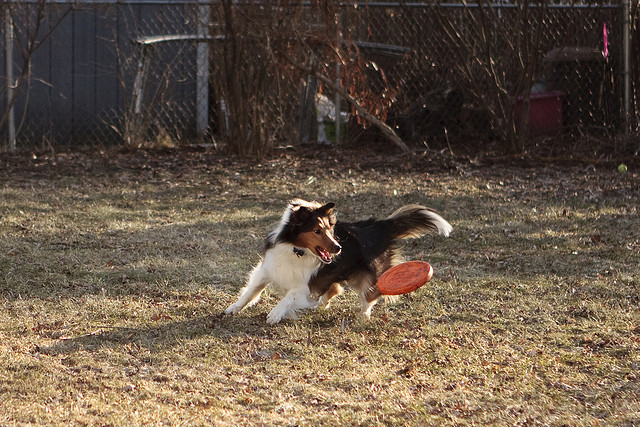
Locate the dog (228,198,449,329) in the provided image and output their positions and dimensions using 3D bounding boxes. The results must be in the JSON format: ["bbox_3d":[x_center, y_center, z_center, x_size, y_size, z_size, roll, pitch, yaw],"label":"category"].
[{"bbox_3d":[0.085,0.625,13.546,3.220,1.744,1.275,-7,36,-26],"label":"dog"}]

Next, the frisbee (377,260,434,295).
[{"bbox_3d":[1.023,0.778,13.157,0.672,0.709,0.118,-3,48,-17],"label":"frisbee"}]
